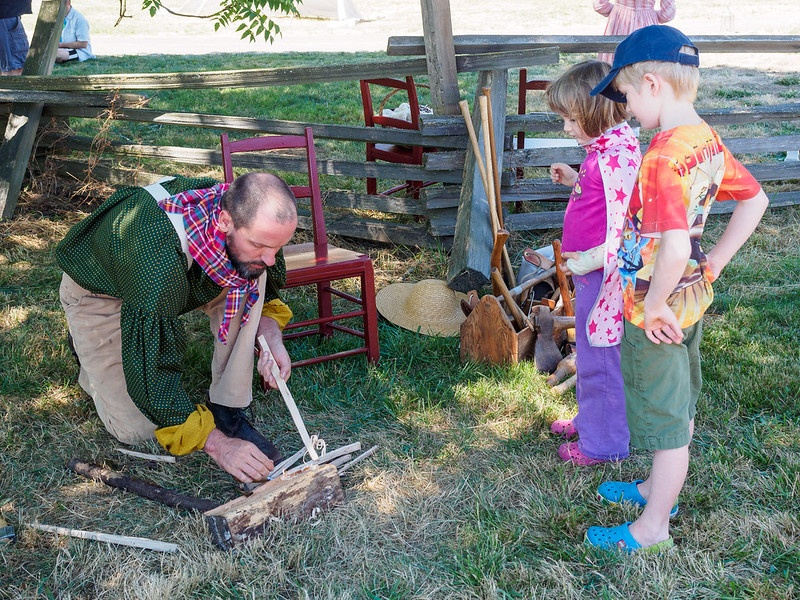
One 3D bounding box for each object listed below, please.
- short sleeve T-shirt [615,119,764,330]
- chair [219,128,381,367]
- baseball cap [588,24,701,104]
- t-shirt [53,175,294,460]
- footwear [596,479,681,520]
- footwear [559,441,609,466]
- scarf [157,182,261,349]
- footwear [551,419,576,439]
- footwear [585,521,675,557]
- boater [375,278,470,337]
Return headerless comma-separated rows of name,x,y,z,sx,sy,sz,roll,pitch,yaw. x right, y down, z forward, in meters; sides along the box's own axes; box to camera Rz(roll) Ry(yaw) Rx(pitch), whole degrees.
short sleeve T-shirt,1.253,-0.338,3.284,0.763,0.817,0.418,-21,29,-31
chair,-0.626,-0.281,4.617,0.822,1.407,0.881,-6,16,-11
baseball cap,1.027,-0.980,3.213,0.406,0.204,0.284,2,26,25
t-shirt,-1.101,0.131,3.765,1.038,1.109,0.730,43,43,14
footwear,1.132,0.917,3.633,0.393,0.154,0.143,9,47,6
footwear,0.934,0.756,3.888,0.194,0.077,0.105,13,26,19
scarf,-0.895,-0.189,3.575,0.344,0.684,0.584,29,28,13
footwear,0.870,0.682,4.074,0.135,0.077,0.059,8,9,7
footwear,1.014,1.087,3.452,0.393,0.128,0.143,1,32,2
boater,0.132,0.009,5.092,0.436,0.280,0.757,-18,24,-38
